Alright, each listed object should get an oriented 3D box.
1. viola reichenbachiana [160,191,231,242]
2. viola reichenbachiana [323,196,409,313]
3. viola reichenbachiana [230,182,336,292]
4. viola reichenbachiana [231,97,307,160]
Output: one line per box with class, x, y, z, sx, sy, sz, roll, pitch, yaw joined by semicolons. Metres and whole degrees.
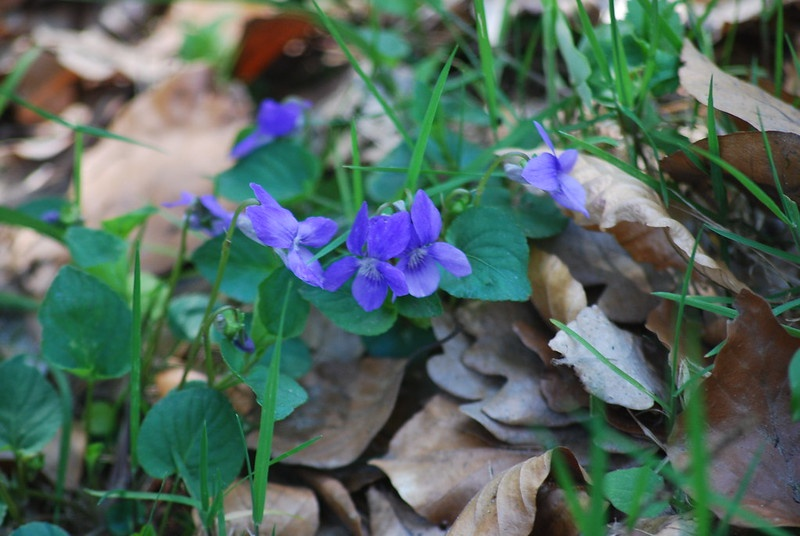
viola reichenbachiana;-0.760;-0.228;3.151;0.203;0.242;0.082;25;64;-2
viola reichenbachiana;-0.088;-0.036;2.691;0.269;0.355;0.152;-8;22;-5
viola reichenbachiana;-0.383;-0.084;2.729;0.111;0.348;0.276;-25;40;49
viola reichenbachiana;-0.598;-0.643;3.757;0.393;0.203;0.094;-43;16;-4
